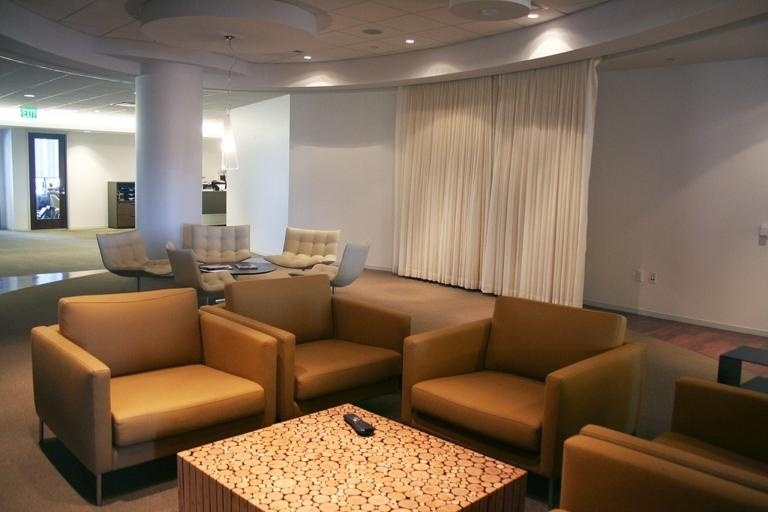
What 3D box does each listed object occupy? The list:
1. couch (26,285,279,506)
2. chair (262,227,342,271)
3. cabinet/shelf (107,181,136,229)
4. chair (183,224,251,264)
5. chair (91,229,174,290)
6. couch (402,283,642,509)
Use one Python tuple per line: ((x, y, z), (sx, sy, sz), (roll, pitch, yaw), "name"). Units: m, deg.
((-1.818, 0.914, 4.112), (1.492, 1.049, 1.484), (9, 7, 33), "couch")
((-1.248, -0.102, 8.130), (1.026, 0.567, 0.723), (3, 4, 22), "chair")
((-8.727, -1.635, 17.406), (0.867, 1.532, 0.462), (-4, 9, -19), "cabinet/shelf")
((-2.485, -0.161, 7.938), (0.949, 0.495, 0.447), (-1, 15, -24), "chair")
((-3.619, 0.202, 7.811), (0.878, 0.957, 0.806), (10, 14, 13), "chair")
((1.144, 1.034, 4.140), (1.589, 1.228, 1.489), (4, 4, 45), "couch")
